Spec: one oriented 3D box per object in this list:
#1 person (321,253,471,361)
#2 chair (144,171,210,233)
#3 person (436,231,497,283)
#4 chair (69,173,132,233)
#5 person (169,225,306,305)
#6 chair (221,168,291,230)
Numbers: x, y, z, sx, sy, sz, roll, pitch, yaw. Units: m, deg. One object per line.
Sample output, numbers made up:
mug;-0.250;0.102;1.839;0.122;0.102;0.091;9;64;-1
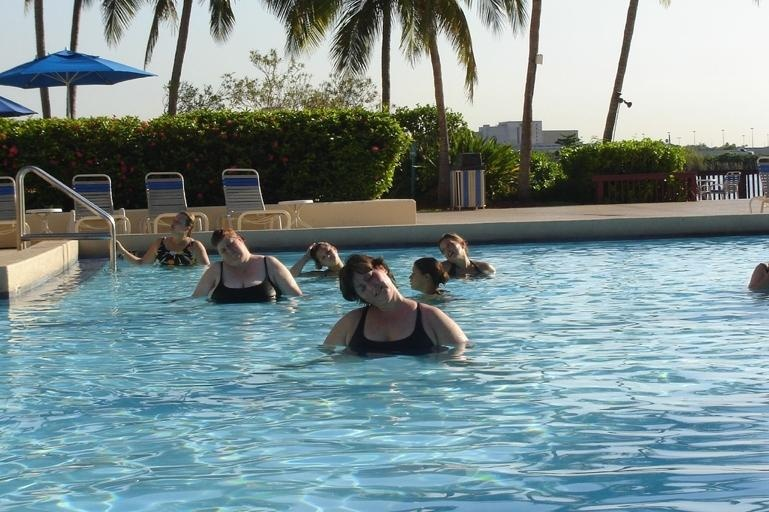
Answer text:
person;0.031;0.372;6.437;1.356;0.838;0.539;-6;6;30
chair;-3.922;-0.854;13.600;0.879;1.450;1.085;-4;-4;-19
person;1.026;0.012;9.939;0.558;0.616;1.156;-6;-2;-42
chair;-5.424;-0.964;14.270;0.922;1.136;2.851;-7;14;-21
person;-1.711;0.135;8.899;1.719;0.832;0.765;-7;-3;12
chair;-2.491;-0.843;14.156;0.962;1.461;1.042;-4;11;-33
